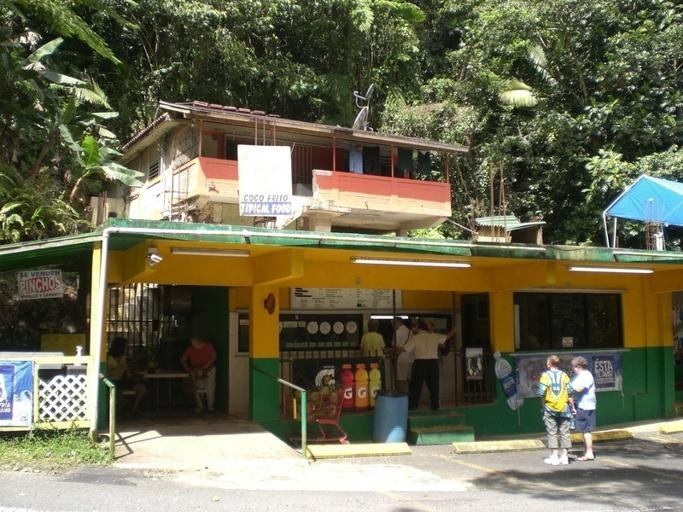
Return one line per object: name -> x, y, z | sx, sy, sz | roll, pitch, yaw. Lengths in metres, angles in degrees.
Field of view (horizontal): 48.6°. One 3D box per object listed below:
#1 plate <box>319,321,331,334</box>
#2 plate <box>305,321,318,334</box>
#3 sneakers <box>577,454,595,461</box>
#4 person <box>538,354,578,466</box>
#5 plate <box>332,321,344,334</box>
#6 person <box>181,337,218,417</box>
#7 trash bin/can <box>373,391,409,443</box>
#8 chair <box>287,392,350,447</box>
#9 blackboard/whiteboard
plate -> -0.413, 1.814, 19.066 | 0.287, 0.307, 0.068 | 3, -6, -23
plate -> -0.714, 1.787, 18.947 | 0.334, 0.326, 0.086 | 1, 5, -30
sneakers -> 5.153, 4.263, 15.905 | 0.351, 0.090, 0.144 | 7, -18, -12
person -> 4.412, 3.183, 15.516 | 0.728, 2.302, 0.395 | 4, 5, 6
plate -> -0.066, 1.823, 19.223 | 0.288, 0.313, 0.091 | 0, 6, -36
person -> -3.517, 2.894, 18.707 | 0.813, 1.928, 0.654 | 3, 5, -6
trash bin/can -> 1.223, 3.812, 17.882 | 1.044, 1.109, 0.982 | 3, -12, -9
chair -> -0.468, 3.688, 17.405 | 1.203, 1.174, 1.032 | 2, 0, 9
blackboard/whiteboard -> 6.068, 1.752, 20.180 | 3.121, 1.654, 0.265 | -1, -3, -6
